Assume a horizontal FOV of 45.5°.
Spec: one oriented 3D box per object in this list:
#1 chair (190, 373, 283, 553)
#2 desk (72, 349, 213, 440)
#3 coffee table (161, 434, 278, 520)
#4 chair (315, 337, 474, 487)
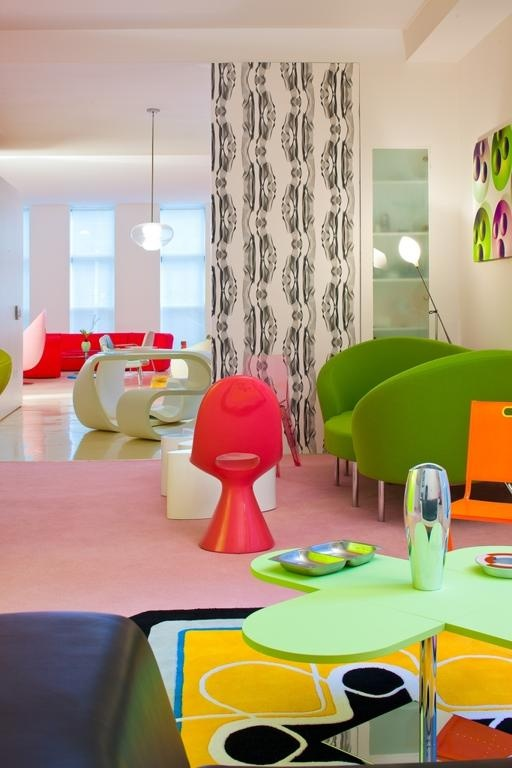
[{"bbox_3d":[-0.089,0.402,2.934,0.439,0.801,0.376,6,-16,-17],"label":"chair"},{"bbox_3d":[-1.153,0.057,6.448,1.334,0.842,1.628,0,7,6],"label":"desk"},{"bbox_3d":[-0.311,0.486,3.512,0.456,0.311,0.469,0,-1,-1],"label":"coffee table"},{"bbox_3d":[0.841,0.103,4.180,0.920,1.086,1.044,2,-3,-13],"label":"chair"}]
